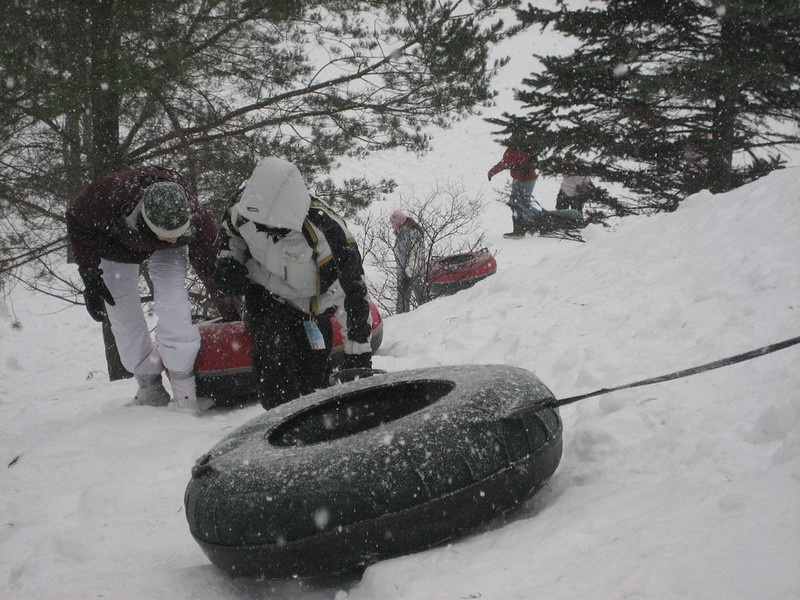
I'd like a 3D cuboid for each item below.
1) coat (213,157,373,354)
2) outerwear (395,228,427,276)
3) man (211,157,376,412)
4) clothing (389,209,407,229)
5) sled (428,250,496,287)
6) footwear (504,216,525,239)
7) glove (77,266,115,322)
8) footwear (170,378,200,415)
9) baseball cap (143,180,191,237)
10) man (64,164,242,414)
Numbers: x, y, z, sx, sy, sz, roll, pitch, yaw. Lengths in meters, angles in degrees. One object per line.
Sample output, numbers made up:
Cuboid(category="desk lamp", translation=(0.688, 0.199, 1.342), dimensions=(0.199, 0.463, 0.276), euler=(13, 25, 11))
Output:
Cuboid(category="coat", translation=(-0.866, -0.324, 6.965), dimensions=(1.146, 1.574, 0.550), euler=(-8, 10, -1))
Cuboid(category="outerwear", translation=(0.144, -0.678, 12.525), dimensions=(0.433, 0.756, 0.554), euler=(-8, 9, -1))
Cuboid(category="man", translation=(-0.832, 0.245, 7.324), dimensions=(1.216, 2.842, 0.987), euler=(10, 20, 8))
Cuboid(category="clothing", translation=(-0.025, -1.152, 12.716), dimensions=(0.204, 0.296, 0.286), euler=(0, 0, 5))
Cuboid(category="sled", translation=(0.833, -0.445, 12.360), dimensions=(0.928, 0.403, 0.569), euler=(-5, 10, 21))
Cuboid(category="footwear", translation=(1.829, -1.175, 14.608), dimensions=(0.416, 0.432, 0.209), euler=(6, 15, 36))
Cuboid(category="glove", translation=(-2.537, -0.044, 7.455), dimensions=(0.252, 0.468, 0.130), euler=(-18, 22, -24))
Cuboid(category="footwear", translation=(-1.869, 0.803, 7.712), dimensions=(0.185, 0.464, 0.148), euler=(1, -7, -6))
Cuboid(category="baseball cap", translation=(-1.835, -0.700, 7.012), dimensions=(0.357, 0.467, 0.255), euler=(-11, 10, -21))
Cuboid(category="man", translation=(-2.119, -0.136, 7.867), dimensions=(1.282, 2.437, 1.704), euler=(-18, 37, -35))
